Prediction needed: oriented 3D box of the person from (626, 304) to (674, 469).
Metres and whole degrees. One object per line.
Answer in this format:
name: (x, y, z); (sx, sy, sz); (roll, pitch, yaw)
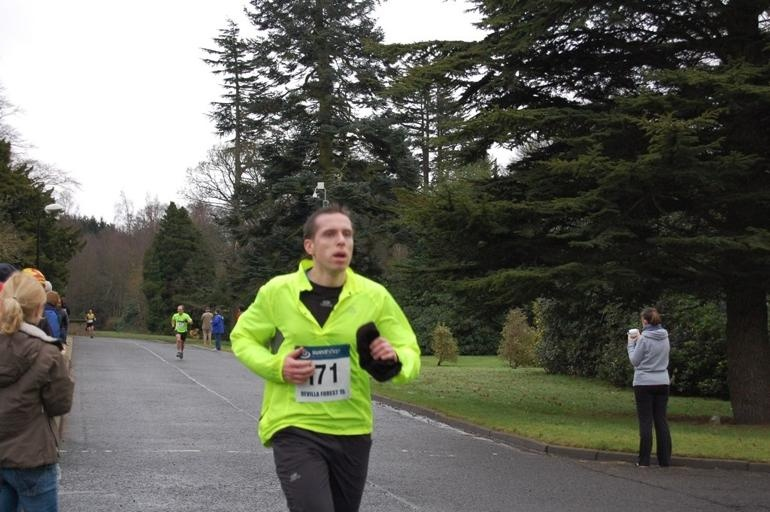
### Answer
person: (4.596, 2.272, 13.243); (0.740, 2.711, 0.633); (2, -1, 20)
